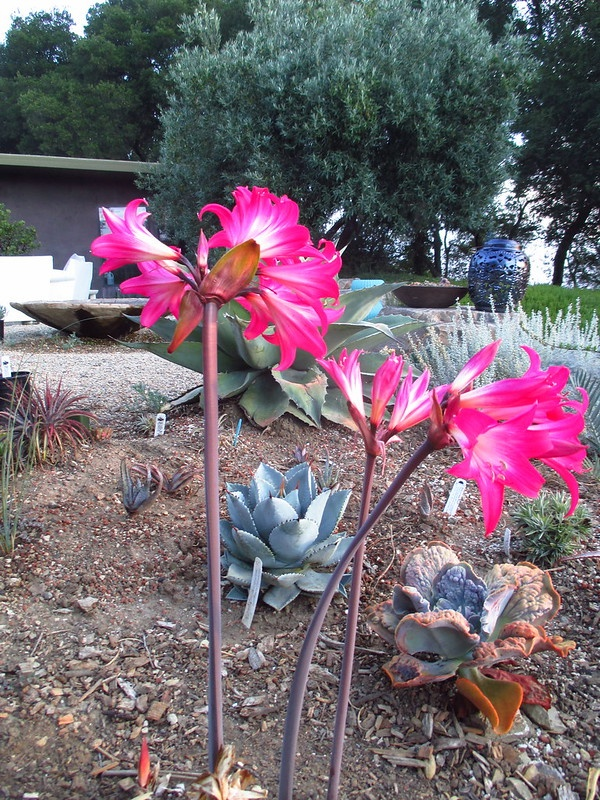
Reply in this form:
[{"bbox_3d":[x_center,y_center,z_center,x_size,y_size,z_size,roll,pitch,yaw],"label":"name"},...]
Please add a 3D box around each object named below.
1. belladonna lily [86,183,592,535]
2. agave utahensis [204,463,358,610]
[{"bbox_3d":[0.031,0.057,0.922,0.703,0.724,0.308,5,9,19],"label":"belladonna lily"},{"bbox_3d":[-0.047,0.351,1.919,0.424,0.271,0.411,4,10,1],"label":"agave utahensis"}]
